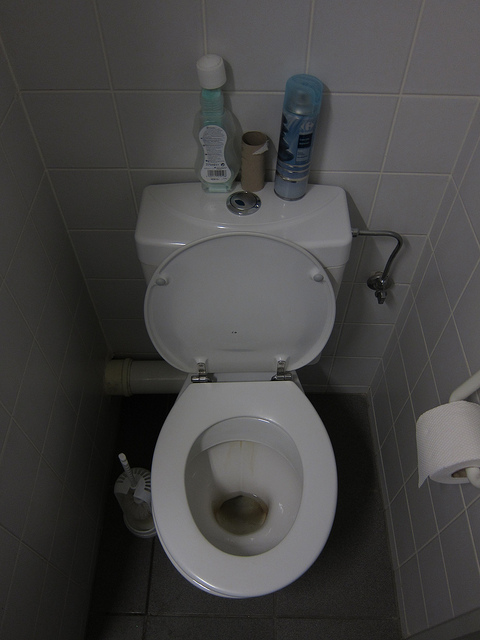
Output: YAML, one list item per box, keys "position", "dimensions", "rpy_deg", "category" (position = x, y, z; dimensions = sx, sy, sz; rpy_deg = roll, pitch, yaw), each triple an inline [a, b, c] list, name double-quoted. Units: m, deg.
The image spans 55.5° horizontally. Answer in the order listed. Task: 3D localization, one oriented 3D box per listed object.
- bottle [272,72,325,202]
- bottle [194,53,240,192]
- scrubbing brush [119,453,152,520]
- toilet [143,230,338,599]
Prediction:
- position: [0.098, -0.318, 0.824]
  dimensions: [0.076, 0.224, 0.105]
  rpy_deg: [9, 51, 6]
  category: "bottle"
- position: [-0.048, -0.344, 0.811]
  dimensions: [0.070, 0.231, 0.066]
  rpy_deg: [0, 51, 0]
  category: "bottle"
- position: [-0.250, 0.424, 1.181]
  dimensions: [0.088, 0.189, 0.119]
  rpy_deg: [0, 51, 0]
  category: "scrubbing brush"
- position: [0.008, 0.252, 0.919]
  dimensions: [0.388, 0.615, 0.515]
  rpy_deg: [-3, 53, -4]
  category: "toilet"
